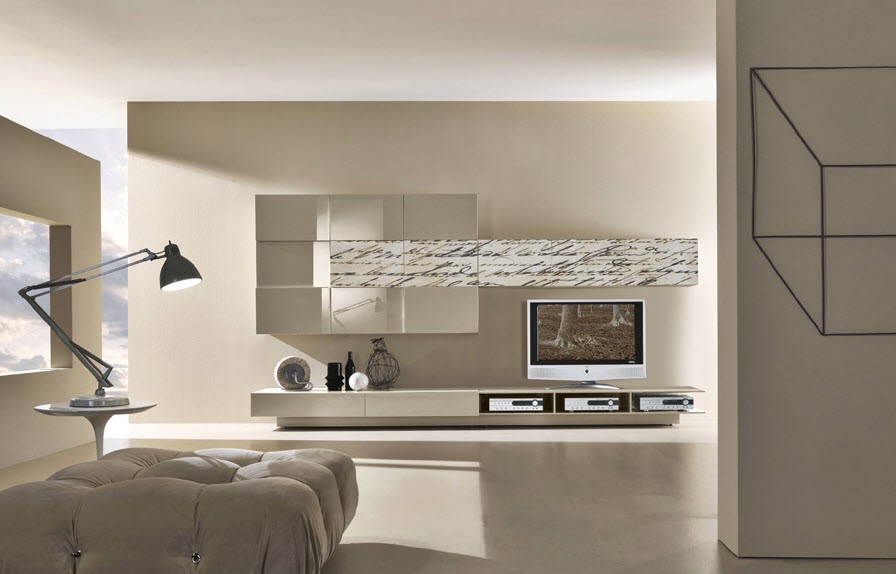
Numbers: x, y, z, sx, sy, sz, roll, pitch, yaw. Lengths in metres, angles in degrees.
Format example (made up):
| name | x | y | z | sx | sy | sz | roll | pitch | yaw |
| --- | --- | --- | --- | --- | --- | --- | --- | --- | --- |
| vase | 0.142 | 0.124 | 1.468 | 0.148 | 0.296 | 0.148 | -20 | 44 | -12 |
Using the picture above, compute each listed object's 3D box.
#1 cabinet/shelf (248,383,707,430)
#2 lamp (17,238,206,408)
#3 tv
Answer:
| name | x | y | z | sx | sy | sz | roll | pitch | yaw |
| --- | --- | --- | --- | --- | --- | --- | --- | --- | --- |
| cabinet/shelf | 0.293 | 1.290 | 8.680 | 4.560 | 0.455 | 0.279 | -1 | 13 | -1 |
| lamp | -2.712 | 0.315 | 6.475 | 1.340 | 1.297 | 0.483 | -2 | -5 | -19 |
| tv | 1.520 | 0.615 | 8.896 | 1.310 | 0.953 | 0.383 | 0 | -1 | -1 |
